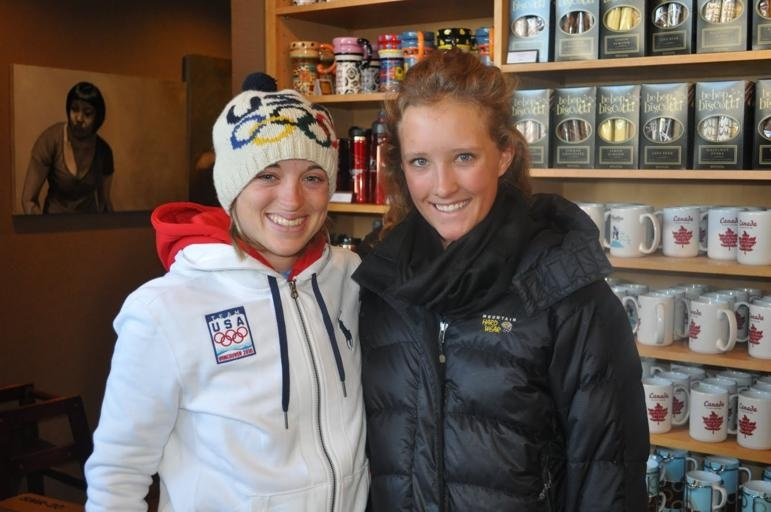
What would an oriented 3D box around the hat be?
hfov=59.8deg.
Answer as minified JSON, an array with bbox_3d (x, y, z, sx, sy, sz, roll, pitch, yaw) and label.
[{"bbox_3d":[-0.334,-0.348,2.220,0.338,0.450,0.445,2,6,-44],"label":"hat"}]
